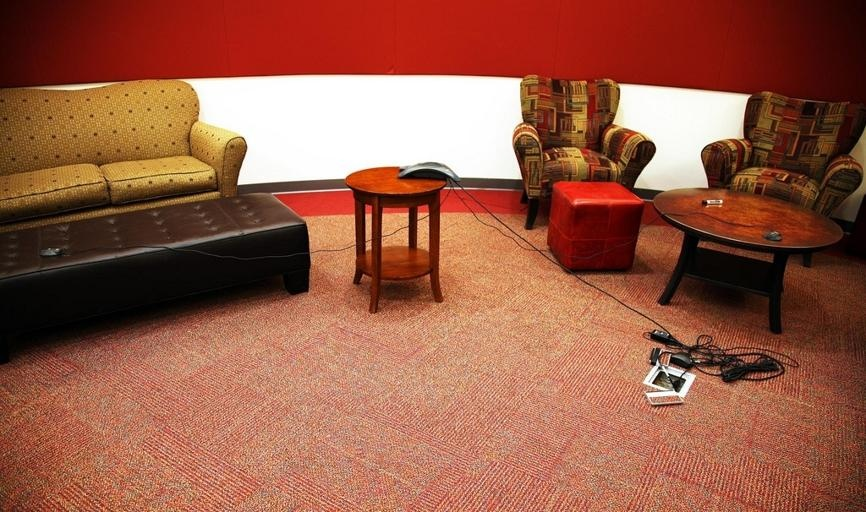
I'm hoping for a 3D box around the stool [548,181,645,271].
[{"bbox_3d":[1.305,-0.247,4.700,0.783,0.742,0.749,4,27,4],"label":"stool"}]

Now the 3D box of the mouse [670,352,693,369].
[{"bbox_3d":[1.711,0.710,3.727,0.100,0.042,0.130,-26,29,-31],"label":"mouse"}]

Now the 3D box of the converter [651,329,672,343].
[{"bbox_3d":[1.641,0.579,3.900,0.134,0.043,0.074,15,25,36],"label":"converter"}]

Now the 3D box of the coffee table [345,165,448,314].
[{"bbox_3d":[-0.279,-0.149,4.186,0.735,0.931,0.696,-4,29,-8],"label":"coffee table"}]
